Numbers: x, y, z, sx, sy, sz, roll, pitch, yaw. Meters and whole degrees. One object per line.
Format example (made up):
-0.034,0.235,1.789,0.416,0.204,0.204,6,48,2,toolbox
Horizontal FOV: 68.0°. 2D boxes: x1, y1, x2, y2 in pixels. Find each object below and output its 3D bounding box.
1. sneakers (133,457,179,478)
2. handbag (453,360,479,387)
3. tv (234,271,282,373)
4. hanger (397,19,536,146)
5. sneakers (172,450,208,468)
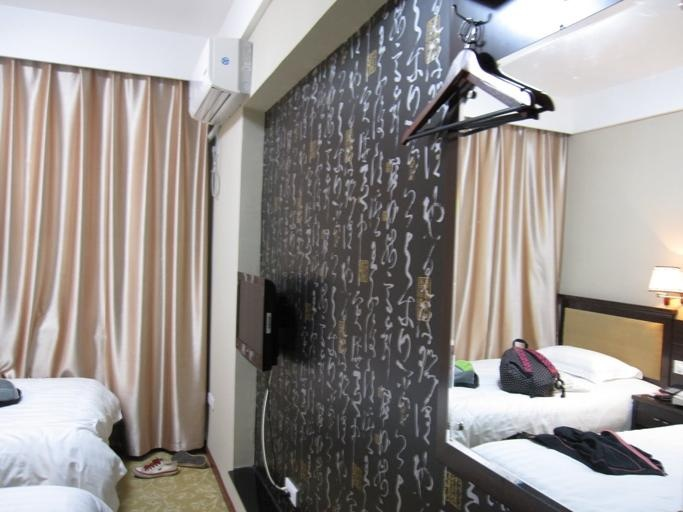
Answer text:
-1.278,1.448,3.463,0.212,0.095,0.118,5,-10,-13,sneakers
0.344,0.323,1.388,0.073,0.039,0.100,0,4,16,handbag
-0.422,0.321,2.557,0.069,0.428,0.537,2,3,-25,tv
0.360,-0.484,1.415,0.074,0.364,0.457,-1,6,-26,hanger
-1.096,1.468,3.640,0.233,0.095,0.114,4,-11,-3,sneakers
